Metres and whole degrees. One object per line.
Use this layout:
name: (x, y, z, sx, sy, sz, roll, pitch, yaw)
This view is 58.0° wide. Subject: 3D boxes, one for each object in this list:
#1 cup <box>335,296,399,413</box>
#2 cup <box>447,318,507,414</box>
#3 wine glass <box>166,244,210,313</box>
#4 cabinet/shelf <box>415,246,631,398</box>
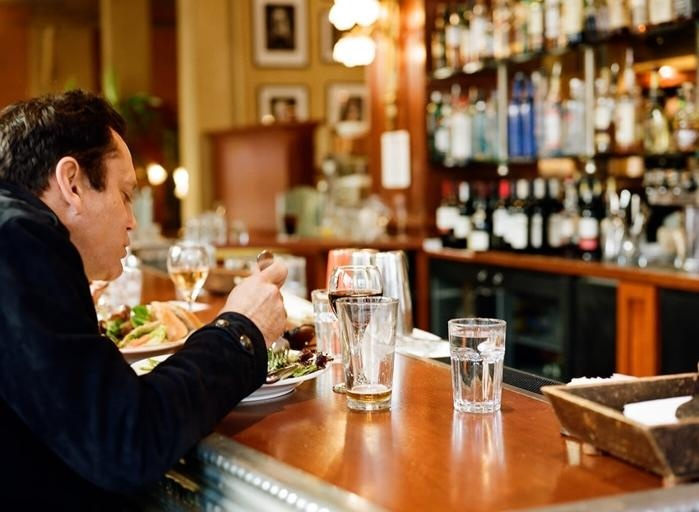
cup: (0.035, 0.181, 1.229, 0.118, 0.209, 0.136, -2, 4, -7)
cup: (0.236, 0.203, 1.177, 0.104, 0.157, 0.105, -1, 0, 0)
wine glass: (-0.496, 0.098, 1.949, 0.121, 0.295, 0.122, -3, 18, -19)
cabinet/shelf: (0.875, 0.321, 3.423, 0.182, 0.619, 1.329, -3, 3, -23)
